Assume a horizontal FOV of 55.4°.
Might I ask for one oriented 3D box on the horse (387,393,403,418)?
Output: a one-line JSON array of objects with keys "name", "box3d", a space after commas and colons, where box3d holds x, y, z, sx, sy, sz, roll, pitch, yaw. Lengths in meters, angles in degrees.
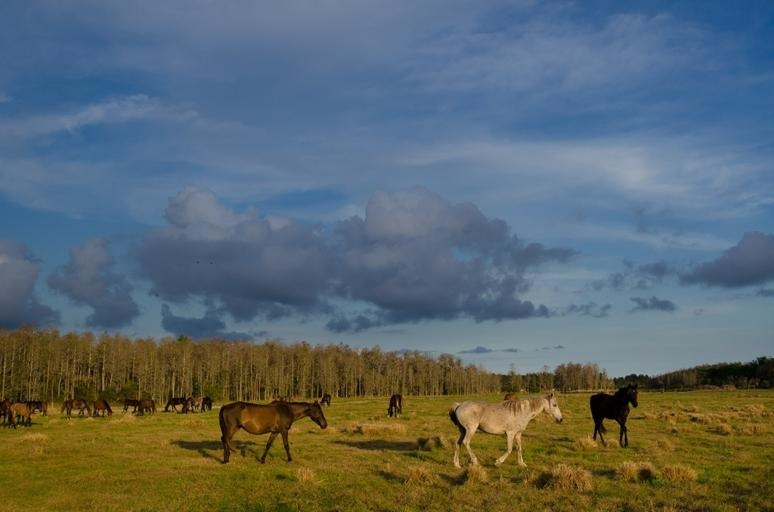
[{"name": "horse", "box3d": [1.142, 17.438, 86.437, 1.327, 2.456, 4.938, 0, -4, 6]}]
